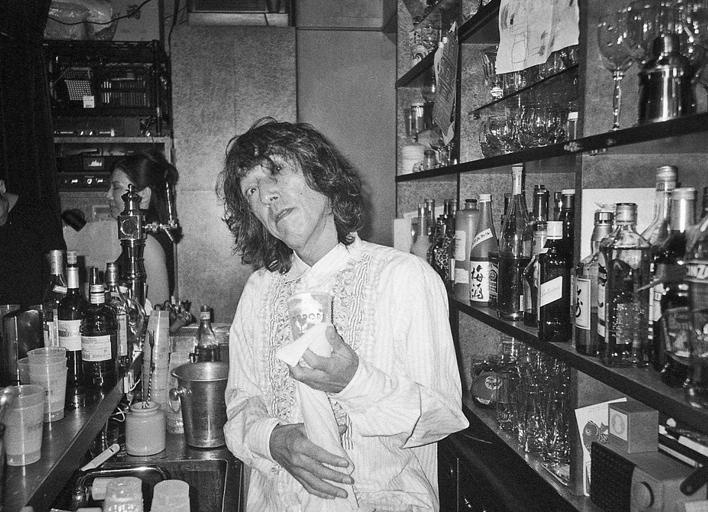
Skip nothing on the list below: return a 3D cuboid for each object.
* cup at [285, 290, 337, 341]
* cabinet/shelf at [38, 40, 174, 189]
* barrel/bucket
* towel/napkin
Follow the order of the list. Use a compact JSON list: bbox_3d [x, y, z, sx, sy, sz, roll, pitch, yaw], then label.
[{"bbox_3d":[-0.118,0.168,1.910,0.127,0.137,0.123,-1,-5,0],"label":"cup"},{"bbox_3d":[-1.490,-1.008,4.973,1.133,1.136,0.830,-2,14,-6],"label":"cabinet/shelf"},{"bbox_3d":[-0.514,0.566,2.618,0.279,0.286,0.266,0,-5,0],"label":"barrel/bucket"},{"bbox_3d":[-0.111,0.479,1.894,0.201,0.585,0.098,-1,11,14],"label":"towel/napkin"}]
